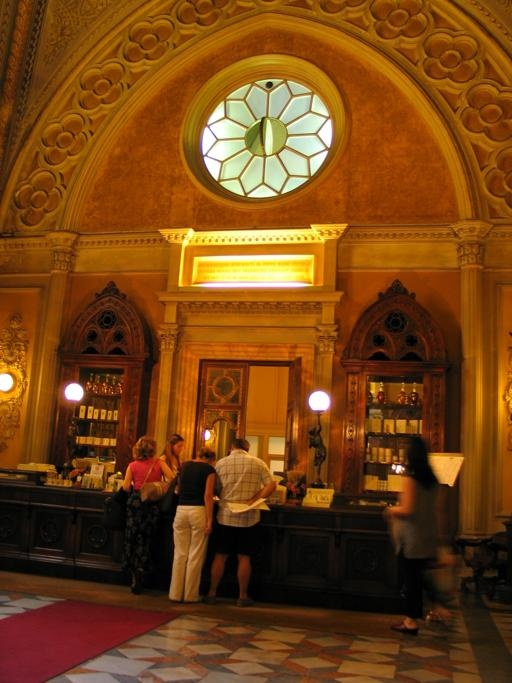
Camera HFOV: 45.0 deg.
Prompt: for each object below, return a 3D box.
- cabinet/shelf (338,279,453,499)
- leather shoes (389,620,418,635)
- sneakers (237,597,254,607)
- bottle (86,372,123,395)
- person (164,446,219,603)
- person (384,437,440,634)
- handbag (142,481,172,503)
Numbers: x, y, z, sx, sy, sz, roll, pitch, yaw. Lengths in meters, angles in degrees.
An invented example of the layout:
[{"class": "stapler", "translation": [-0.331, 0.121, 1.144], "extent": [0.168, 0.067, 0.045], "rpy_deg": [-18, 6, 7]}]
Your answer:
[{"class": "cabinet/shelf", "translation": [1.803, 0.564, 8.197], "extent": [1.355, 2.869, 0.566], "rpy_deg": [0, -15, 11]}, {"class": "leather shoes", "translation": [1.051, 2.096, 4.522], "extent": [0.223, 0.077, 0.085], "rpy_deg": [-2, -9, 33]}, {"class": "sneakers", "translation": [-0.099, 2.233, 5.300], "extent": [0.055, 0.052, 0.149], "rpy_deg": [-3, -6, 33]}, {"class": "bottle", "translation": [-2.260, 0.629, 9.266], "extent": [0.407, 0.220, 0.052], "rpy_deg": [2, -32, 15]}, {"class": "person", "translation": [-0.559, 1.573, 5.356], "extent": [0.354, 1.302, 0.365], "rpy_deg": [4, -14, -3]}, {"class": "person", "translation": [1.094, 1.378, 4.374], "extent": [0.362, 1.385, 0.555], "rpy_deg": [0, -14, 14]}, {"class": "handbag", "translation": [-0.907, 1.359, 5.579], "extent": [0.085, 0.180, 0.207], "rpy_deg": [7, -1, 44]}]
